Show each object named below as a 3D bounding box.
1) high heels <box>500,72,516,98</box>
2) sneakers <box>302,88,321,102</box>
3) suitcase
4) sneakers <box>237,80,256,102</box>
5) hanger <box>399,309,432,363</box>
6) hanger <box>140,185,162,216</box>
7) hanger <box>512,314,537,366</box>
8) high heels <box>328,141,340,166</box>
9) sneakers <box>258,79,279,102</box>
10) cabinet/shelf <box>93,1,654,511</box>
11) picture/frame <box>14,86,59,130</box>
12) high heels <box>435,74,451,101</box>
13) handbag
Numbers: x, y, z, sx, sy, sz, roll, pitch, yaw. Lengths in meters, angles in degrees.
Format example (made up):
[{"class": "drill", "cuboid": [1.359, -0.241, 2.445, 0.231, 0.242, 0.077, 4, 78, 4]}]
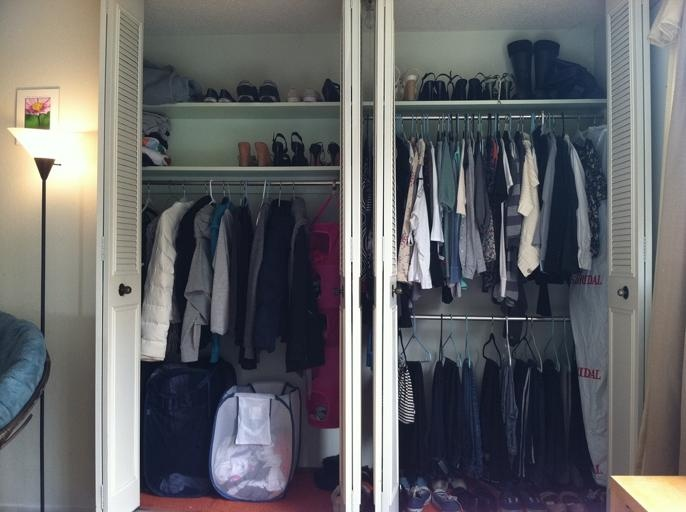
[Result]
[{"class": "high heels", "cuboid": [1.088, -1.136, 4.183, 0.108, 0.105, 0.237, -2, 30, 9]}, {"class": "sneakers", "cuboid": [-0.217, -1.075, 4.204, 0.094, 0.090, 0.204, 1, 15, 1]}, {"class": "suitcase", "cuboid": [-1.044, 1.089, 4.021, 0.519, 0.811, 0.243, 1, 1, -10]}, {"class": "sneakers", "cuboid": [-0.639, -1.085, 4.171, 0.138, 0.151, 0.105, -2, 16, -3]}, {"class": "hanger", "cuboid": [0.490, 0.545, 4.206, 0.345, 0.439, 0.036, -1, 2, 10]}, {"class": "hanger", "cuboid": [-1.284, -0.392, 4.285, 0.126, 0.212, 0.190, -1, 4, -4]}, {"class": "hanger", "cuboid": [1.244, 0.557, 4.238, 0.157, 0.317, 0.076, 6, 14, 12]}, {"class": "high heels", "cuboid": [-0.064, -0.677, 4.192, 0.058, 0.077, 0.182, -2, -15, 1]}, {"class": "sneakers", "cuboid": [-0.499, -1.096, 4.195, 0.152, 0.166, 0.099, 1, -1, -14]}, {"class": "cabinet/shelf", "cuboid": [0.240, 0.099, 3.887, 2.748, 3.029, 0.975, 0, 4, 1]}, {"class": "picture/frame", "cuboid": [-1.889, -0.915, 3.885, 0.281, 0.334, 0.012, -1, 1, 3]}, {"class": "high heels", "cuboid": [0.663, -1.139, 4.193, 0.084, 0.102, 0.263, -1, 46, 4]}, {"class": "handbag", "cuboid": [-0.573, 1.209, 4.084, 0.454, 0.713, 0.246, 2, 2, 1]}]
